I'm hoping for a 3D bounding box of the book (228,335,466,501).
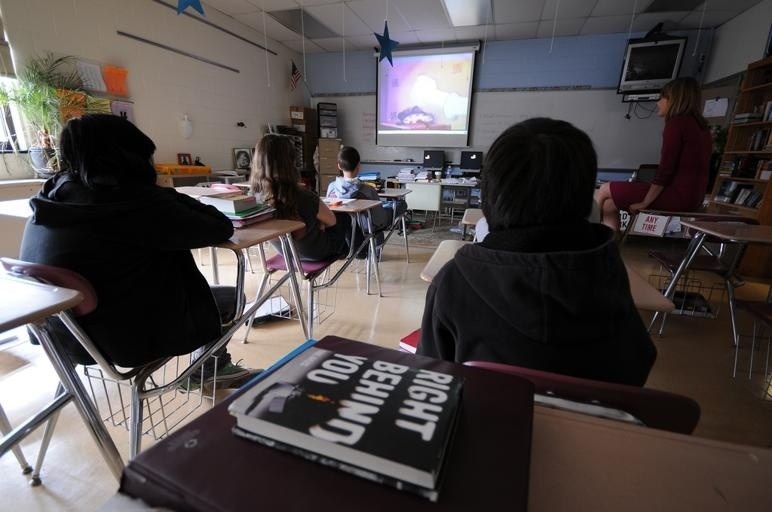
[{"bbox_3d":[-0.121,0.595,1.824,0.798,0.160,0.790,14,12,25],"label":"book"}]

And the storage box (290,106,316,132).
[{"bbox_3d":[-1.543,-2.461,8.499,0.314,0.519,0.585,4,12,21],"label":"storage box"}]

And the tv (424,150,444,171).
[{"bbox_3d":[0.779,-1.596,7.915,0.388,0.351,0.213,4,11,18],"label":"tv"}]

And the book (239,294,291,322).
[{"bbox_3d":[-0.933,0.422,3.799,0.294,0.089,0.222,-8,15,-37],"label":"book"}]

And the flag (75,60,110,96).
[{"bbox_3d":[-3.163,-1.896,5.039,0.097,0.324,0.328,3,16,23],"label":"flag"}]

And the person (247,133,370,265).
[{"bbox_3d":[-0.687,-0.431,3.688,0.672,0.870,0.894,-1,11,13],"label":"person"}]
